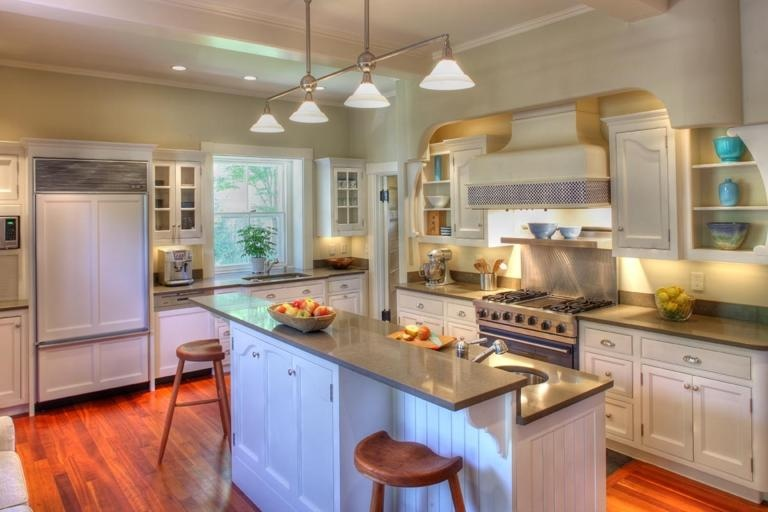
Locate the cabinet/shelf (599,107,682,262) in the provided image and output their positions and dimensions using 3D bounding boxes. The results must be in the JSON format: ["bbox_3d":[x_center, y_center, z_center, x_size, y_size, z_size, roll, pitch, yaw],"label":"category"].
[{"bbox_3d":[2.240,-0.622,4.641,0.730,1.257,0.276,8,18,32],"label":"cabinet/shelf"}]

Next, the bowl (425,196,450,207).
[{"bbox_3d":[0.618,-0.635,6.212,0.300,0.151,0.122,6,17,28],"label":"bowl"}]

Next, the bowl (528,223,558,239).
[{"bbox_3d":[1.627,-0.245,5.388,0.193,0.108,0.190,0,-2,0],"label":"bowl"}]

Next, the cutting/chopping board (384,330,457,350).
[{"bbox_3d":[0.356,0.623,3.858,0.213,0.040,0.299,3,3,39],"label":"cutting/chopping board"}]

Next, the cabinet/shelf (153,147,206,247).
[{"bbox_3d":[-2.476,-0.715,6.409,0.691,1.125,0.282,-9,17,-25],"label":"cabinet/shelf"}]

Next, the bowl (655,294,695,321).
[{"bbox_3d":[2.456,0.441,4.499,0.258,0.163,0.253,-2,2,0],"label":"bowl"}]

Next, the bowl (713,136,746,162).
[{"bbox_3d":[2.832,-0.879,4.359,0.222,0.162,0.223,0,-2,0],"label":"bowl"}]

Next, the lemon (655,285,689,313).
[{"bbox_3d":[2.483,0.364,4.536,0.239,0.162,0.218,-4,2,-19],"label":"lemon"}]

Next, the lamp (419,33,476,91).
[{"bbox_3d":[0.390,-1.255,3.444,0.300,0.314,0.222,-10,17,-31],"label":"lamp"}]

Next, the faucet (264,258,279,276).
[{"bbox_3d":[-1.570,0.126,7.315,0.164,0.220,0.646,-3,14,-6],"label":"faucet"}]

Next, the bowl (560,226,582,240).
[{"bbox_3d":[1.838,-0.218,5.249,0.154,0.091,0.150,0,-2,0],"label":"bowl"}]

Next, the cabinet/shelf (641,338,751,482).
[{"bbox_3d":[2.635,1.288,4.361,0.359,0.761,0.919,0,0,-27],"label":"cabinet/shelf"}]

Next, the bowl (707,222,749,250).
[{"bbox_3d":[2.835,-0.151,4.375,0.261,0.172,0.258,-1,0,0],"label":"bowl"}]

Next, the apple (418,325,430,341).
[{"bbox_3d":[0.278,0.563,3.916,0.098,0.091,0.096,0,5,24],"label":"apple"}]

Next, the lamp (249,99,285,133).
[{"bbox_3d":[-0.975,-1.157,4.410,0.219,0.238,0.473,-4,15,-9],"label":"lamp"}]

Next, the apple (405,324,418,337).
[{"bbox_3d":[0.199,0.543,3.912,0.088,0.058,0.090,4,10,22],"label":"apple"}]

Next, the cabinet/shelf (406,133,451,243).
[{"bbox_3d":[0.506,-0.765,6.223,0.493,1.088,0.255,-1,15,2],"label":"cabinet/shelf"}]

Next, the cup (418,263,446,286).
[{"bbox_3d":[0.581,0.203,6.239,0.200,0.210,0.311,-4,-5,41],"label":"cup"}]

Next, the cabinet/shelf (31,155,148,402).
[{"bbox_3d":[-3.140,0.194,5.651,1.282,2.467,0.526,-8,16,-21],"label":"cabinet/shelf"}]
